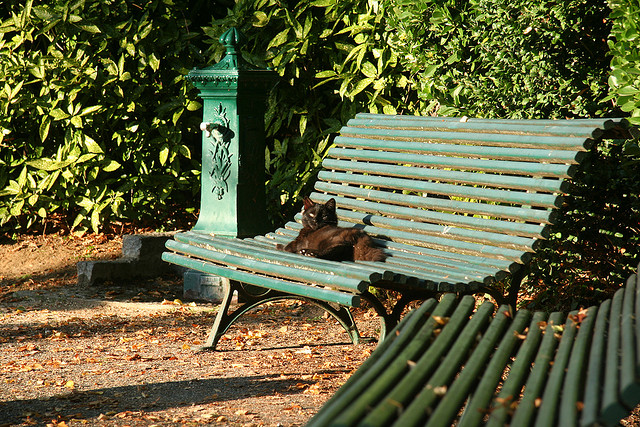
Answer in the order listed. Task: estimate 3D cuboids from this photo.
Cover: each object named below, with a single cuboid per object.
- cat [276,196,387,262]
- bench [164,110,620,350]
[{"bbox_3d":[0.143,0.144,4.961,0.452,0.450,1.161,10,-4,-37],"label":"cat"},{"bbox_3d":[0.552,0.144,4.858,1.556,1.179,2.331,-3,6,-39],"label":"bench"}]
